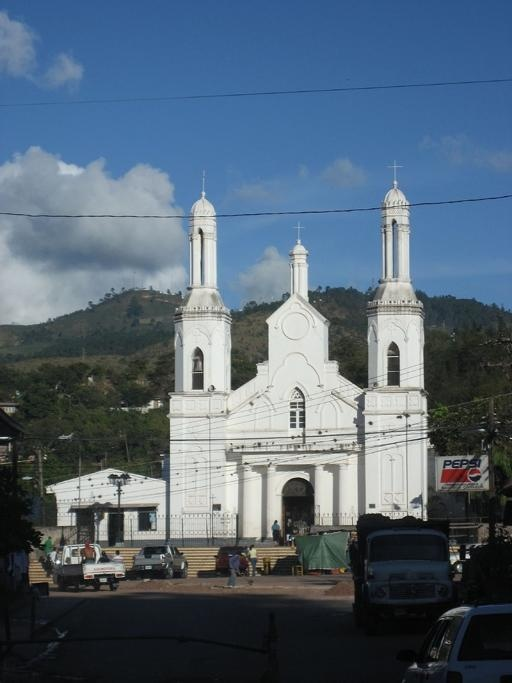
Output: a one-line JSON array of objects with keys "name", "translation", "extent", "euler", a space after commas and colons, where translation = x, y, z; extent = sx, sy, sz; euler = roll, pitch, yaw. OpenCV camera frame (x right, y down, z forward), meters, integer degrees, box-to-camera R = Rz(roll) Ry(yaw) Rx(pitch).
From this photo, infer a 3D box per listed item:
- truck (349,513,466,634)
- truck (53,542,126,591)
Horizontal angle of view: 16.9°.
[{"name": "truck", "translation": [3.138, 4.930, 36.530], "extent": [1.822, 2.389, 2.308], "euler": [-4, -11, 6]}, {"name": "truck", "translation": [-5.391, 7.089, 53.607], "extent": [1.669, 1.445, 3.107], "euler": [4, -11, -23]}]
